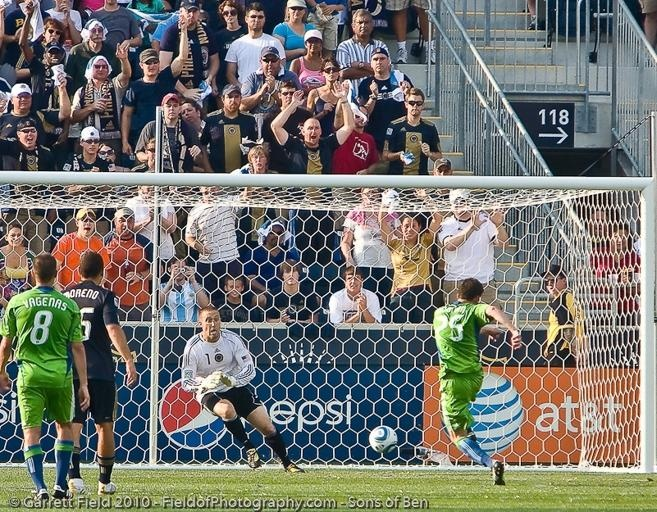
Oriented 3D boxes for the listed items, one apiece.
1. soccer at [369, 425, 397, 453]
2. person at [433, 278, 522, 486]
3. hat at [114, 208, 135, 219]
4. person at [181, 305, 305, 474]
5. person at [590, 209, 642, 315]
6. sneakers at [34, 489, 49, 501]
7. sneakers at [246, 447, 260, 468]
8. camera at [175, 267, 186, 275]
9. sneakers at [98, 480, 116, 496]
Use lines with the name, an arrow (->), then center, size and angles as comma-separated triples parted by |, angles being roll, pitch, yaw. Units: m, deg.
soccer -> 0.577, 1.854, 17.335 | 0.281, 0.289, 0.438 | -2, 8, 2
person -> 1.402, 1.203, 16.440 | 0.504, 1.913, 0.898 | -8, 9, -39
hat -> -2.246, -0.477, 18.616 | 0.214, 0.149, 0.382 | -4, 8, -7
person -> -0.951, 1.329, 17.102 | 1.025, 1.598, 0.560 | 3, 9, 36
person -> 2.997, 0.052, 17.469 | 0.406, 1.031, 0.866 | -6, 9, -28
sneakers -> -2.606, 2.151, 15.338 | 0.122, 0.095, 0.134 | -4, 8, -11
sneakers -> -0.751, 2.014, 16.947 | 0.100, 0.221, 0.143 | -5, 9, 8
camera -> -1.602, 0.157, 18.350 | 0.086, 0.065, 0.018 | -5, 8, -17
sneakers -> -2.097, 2.203, 16.014 | 0.177, 0.087, 0.080 | 8, -31, -46
